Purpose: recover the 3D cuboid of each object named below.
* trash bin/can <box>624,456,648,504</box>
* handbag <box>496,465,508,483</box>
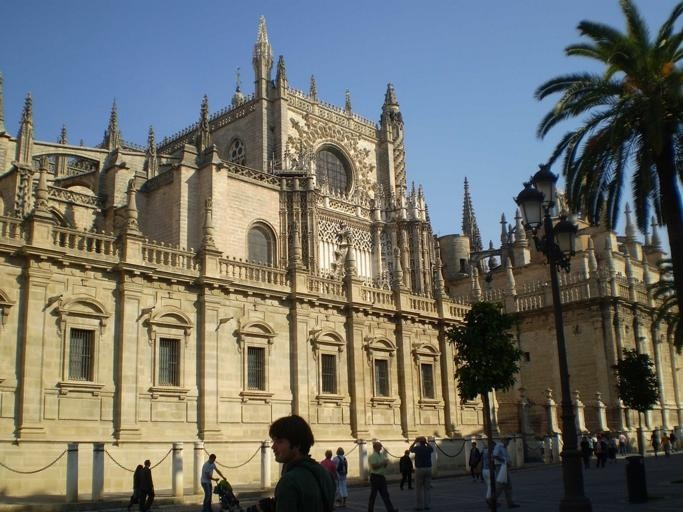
[{"bbox_3d":[9.492,7.202,27.664,0.618,1.502,0.713,-9,-19,17],"label":"trash bin/can"},{"bbox_3d":[5.166,7.009,27.592,0.393,0.601,0.292,-3,-18,-3],"label":"handbag"}]
